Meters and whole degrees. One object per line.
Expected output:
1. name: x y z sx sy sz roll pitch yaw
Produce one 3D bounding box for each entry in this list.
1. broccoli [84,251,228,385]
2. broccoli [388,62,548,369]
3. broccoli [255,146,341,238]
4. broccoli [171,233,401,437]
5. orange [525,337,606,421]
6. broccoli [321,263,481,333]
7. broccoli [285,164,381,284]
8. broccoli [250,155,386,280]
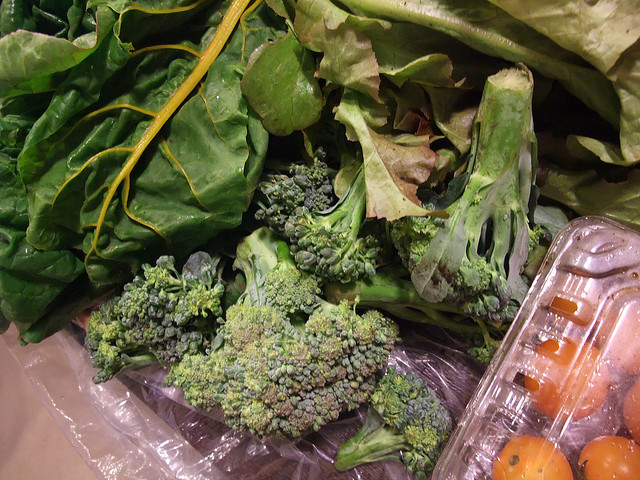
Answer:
1. broccoli: -0.486 0.209 1.725 0.371 0.336 0.345 -20 5 -6
2. broccoli: 0.422 -0.063 1.475 0.444 0.474 0.359 -28 49 -11
3. broccoli: -0.077 -0.158 1.626 0.233 0.186 0.219 14 18 34
4. broccoli: -0.082 0.306 1.689 0.490 0.241 0.606 -11 66 -3
5. orange: 0.634 0.355 1.474 0.189 0.087 0.167 4 54 17
6. broccoli: 0.224 0.168 1.635 0.333 0.246 0.132 -14 39 26
7. broccoli: 0.064 0.005 1.614 0.211 0.151 0.340 21 67 30
8. broccoli: -0.003 -0.070 1.591 0.317 0.195 0.366 -44 64 -8
